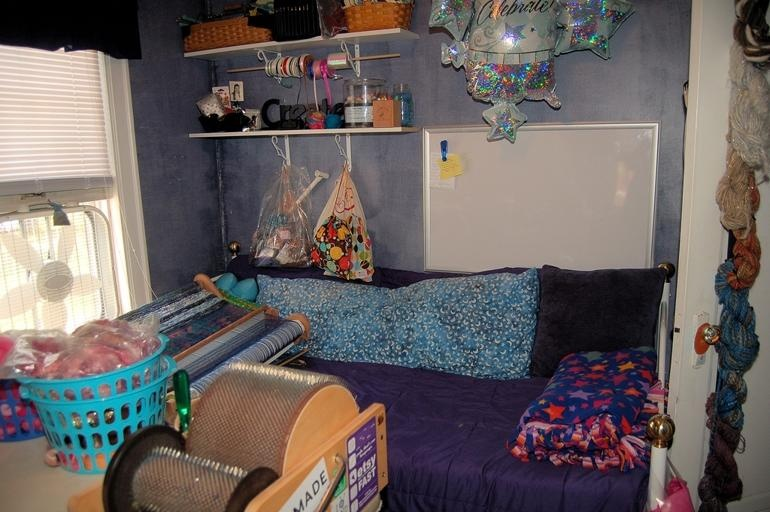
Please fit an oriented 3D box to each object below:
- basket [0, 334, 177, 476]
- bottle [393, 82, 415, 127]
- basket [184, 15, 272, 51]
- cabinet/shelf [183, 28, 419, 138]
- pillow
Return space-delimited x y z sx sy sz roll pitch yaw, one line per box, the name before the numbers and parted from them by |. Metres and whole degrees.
basket | -0.812 0.377 1.550 0.341 0.264 0.387 2 8 9
bottle | 0.081 -0.817 2.949 0.085 0.219 0.138 6 14 29
basket | -0.916 -1.252 3.089 0.290 0.080 0.293 -6 4 -3
cabinet/shelf | -0.495 -0.967 3.231 1.478 0.536 0.346 4 13 24
pillow | 0.909 0.454 2.328 0.573 0.926 0.330 -5 -31 46
